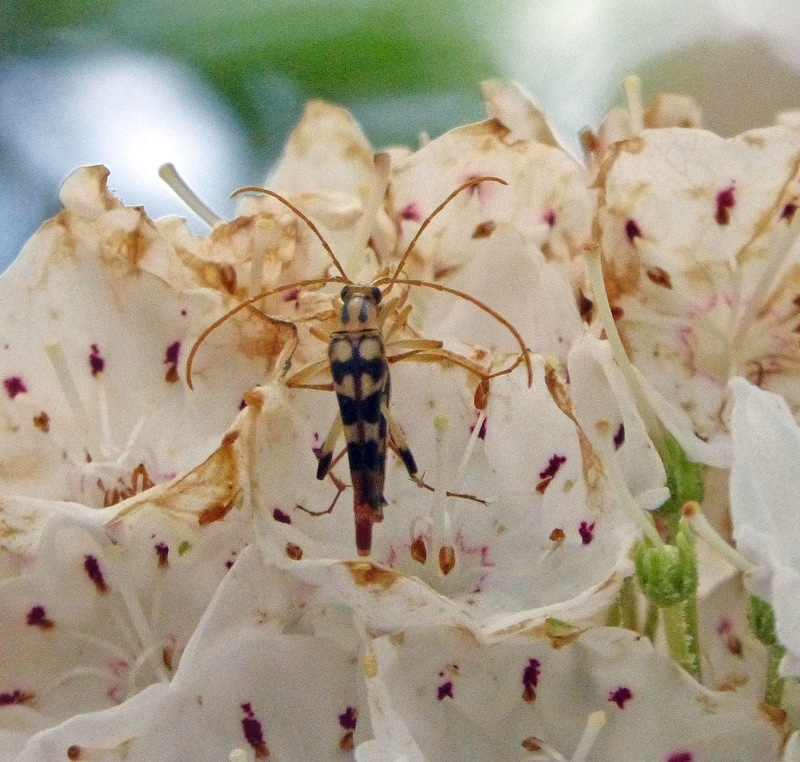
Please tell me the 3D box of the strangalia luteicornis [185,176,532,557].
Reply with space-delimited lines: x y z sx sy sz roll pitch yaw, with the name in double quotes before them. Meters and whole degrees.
"strangalia luteicornis" -0.023 -0.025 1.843 0.198 0.263 0.062 7 50 0
